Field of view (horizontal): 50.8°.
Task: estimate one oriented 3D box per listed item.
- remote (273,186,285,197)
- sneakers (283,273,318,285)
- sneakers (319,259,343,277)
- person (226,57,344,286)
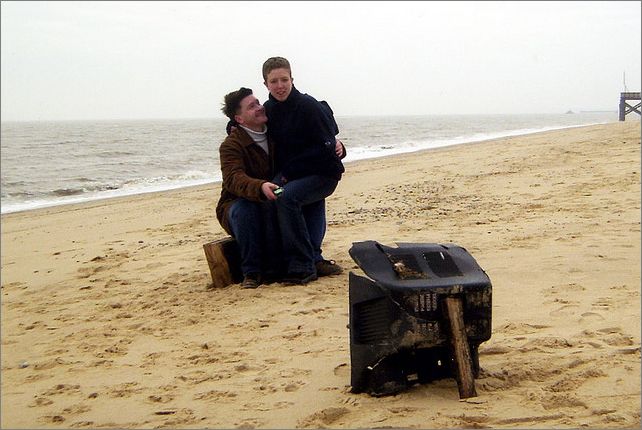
[{"bbox_3d":[-0.496,-0.264,7.778,0.153,0.059,0.189,-3,-5,-13],"label":"remote"},{"bbox_3d":[-0.255,0.750,8.114,0.380,0.119,0.132,-4,6,-6],"label":"sneakers"},{"bbox_3d":[0.075,0.653,8.357,0.371,0.130,0.144,-3,8,-18],"label":"sneakers"},{"bbox_3d":[-0.281,-0.534,8.065,0.962,2.673,0.830,-6,14,14],"label":"person"}]
